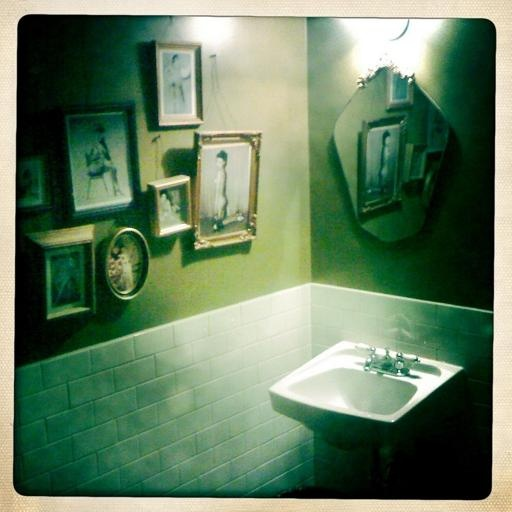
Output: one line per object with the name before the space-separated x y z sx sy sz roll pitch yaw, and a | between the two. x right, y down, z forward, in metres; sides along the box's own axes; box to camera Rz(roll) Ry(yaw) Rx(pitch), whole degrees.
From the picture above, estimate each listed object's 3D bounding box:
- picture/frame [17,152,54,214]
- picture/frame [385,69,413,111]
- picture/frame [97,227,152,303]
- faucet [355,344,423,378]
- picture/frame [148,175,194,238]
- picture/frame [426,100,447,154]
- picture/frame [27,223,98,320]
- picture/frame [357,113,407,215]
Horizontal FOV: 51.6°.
picture/frame | -0.559 -0.179 1.306 0.010 0.162 0.130 12 18 25
picture/frame | 0.386 -0.457 1.422 0.067 0.137 0.013 -3 -19 28
picture/frame | -0.330 0.020 1.341 0.107 0.181 0.029 -4 -13 0
faucet | 0.364 0.276 1.476 0.186 0.085 0.061 5 13 28
picture/frame | -0.226 -0.131 1.367 0.106 0.139 0.048 -20 31 -35
picture/frame | 0.466 -0.345 1.399 0.046 0.123 0.010 -7 7 -34
picture/frame | -0.501 0.040 1.344 0.149 0.236 0.140 -10 22 -39
picture/frame | 0.354 -0.242 1.455 0.126 0.266 0.038 -1 -6 41
